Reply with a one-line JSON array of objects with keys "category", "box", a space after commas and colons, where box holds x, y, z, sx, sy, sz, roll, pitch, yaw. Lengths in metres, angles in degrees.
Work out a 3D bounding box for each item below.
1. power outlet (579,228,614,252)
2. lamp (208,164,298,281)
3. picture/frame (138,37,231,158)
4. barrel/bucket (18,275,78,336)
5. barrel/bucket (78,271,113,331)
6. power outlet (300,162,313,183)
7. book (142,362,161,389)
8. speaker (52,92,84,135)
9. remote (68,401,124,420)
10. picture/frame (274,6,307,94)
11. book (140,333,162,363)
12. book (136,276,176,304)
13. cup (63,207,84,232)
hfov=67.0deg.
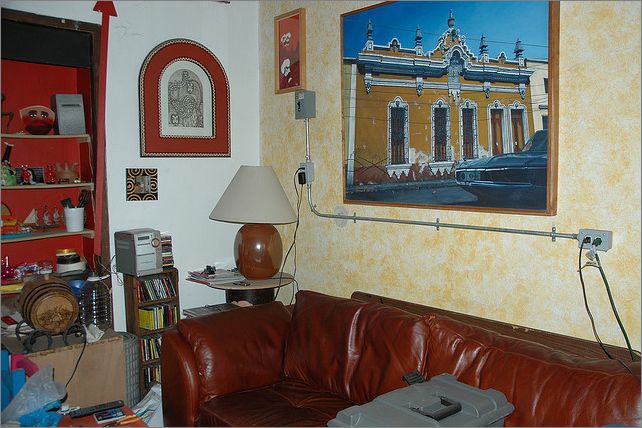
[{"category": "power outlet", "box": [1.637, 0.144, 2.917, 0.204, 0.150, 0.111, 4, 5, 44]}, {"category": "lamp", "box": [-0.532, 0.066, 4.152, 0.793, 0.961, 0.793, 4, 7, 29]}, {"category": "picture/frame", "box": [-1.251, -1.085, 4.400, 1.061, 1.318, 0.095, -6, 6, -44]}, {"category": "barrel/bucket", "box": [-1.834, 0.580, 3.430, 0.380, 0.397, 0.500, -1, 12, -34]}, {"category": "barrel/bucket", "box": [-1.709, 0.681, 3.726, 0.237, 0.424, 0.245, 0, -2, 0]}, {"category": "power outlet", "box": [-0.108, -0.374, 4.216, 0.122, 0.197, 0.071, -1, 4, -6]}, {"category": "book", "box": [-1.390, 1.341, 4.039, 0.136, 0.182, 0.058, -4, 5, -43]}, {"category": "speaker", "box": [-2.029, -0.818, 3.961, 0.238, 0.341, 0.150, -3, 4, -28]}, {"category": "remote", "box": [-1.308, 1.153, 2.878, 0.297, 0.031, 0.096, -4, 11, -29]}, {"category": "picture/frame", "box": [-0.273, -1.474, 4.369, 0.052, 0.715, 0.398, -4, 5, -41]}, {"category": "book", "box": [-1.403, 1.122, 4.065, 0.168, 0.203, 0.091, -3, 4, -26]}, {"category": "book", "box": [-1.299, 0.622, 4.090, 0.301, 0.185, 0.327, -6, -9, 13]}, {"category": "cup", "box": [-2.015, 0.038, 4.023, 0.149, 0.206, 0.118, -3, 4, -31]}]
